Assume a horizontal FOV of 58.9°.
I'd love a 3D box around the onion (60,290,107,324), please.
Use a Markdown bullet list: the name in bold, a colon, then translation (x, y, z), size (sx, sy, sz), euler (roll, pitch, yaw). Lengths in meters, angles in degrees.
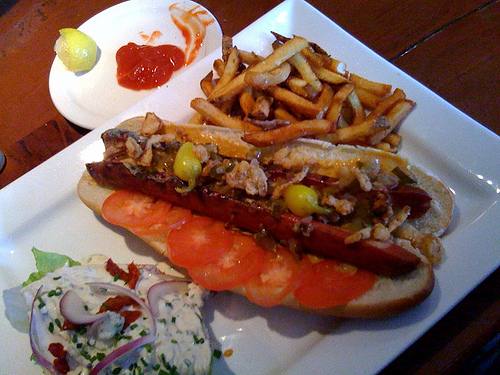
- **onion**: translation (-1.431, 0.978, 3.651), size (0.286, 0.122, 0.408), euler (-1, -64, -11)
